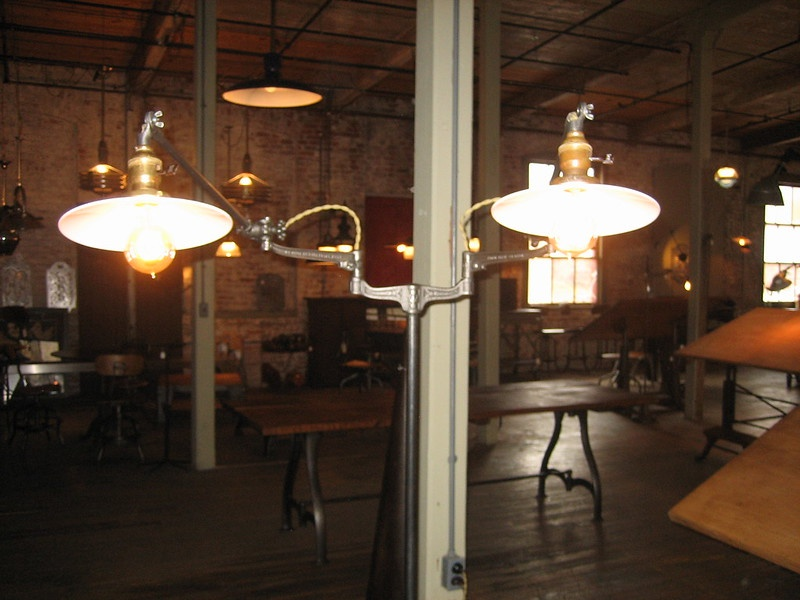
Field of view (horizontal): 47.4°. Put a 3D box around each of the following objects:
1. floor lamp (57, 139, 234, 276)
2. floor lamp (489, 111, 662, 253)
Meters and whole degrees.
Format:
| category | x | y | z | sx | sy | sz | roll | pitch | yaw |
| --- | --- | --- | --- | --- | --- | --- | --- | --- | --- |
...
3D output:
| category | x | y | z | sx | sy | sz | roll | pitch | yaw |
| --- | --- | --- | --- | --- | --- | --- | --- | --- | --- |
| floor lamp | -1.496 | -0.650 | 5.720 | 0.908 | 0.735 | 0.927 | 12 | 18 | 33 |
| floor lamp | 1.125 | -0.769 | 5.897 | 1.195 | 0.922 | 1.160 | -1 | 1 | -34 |
